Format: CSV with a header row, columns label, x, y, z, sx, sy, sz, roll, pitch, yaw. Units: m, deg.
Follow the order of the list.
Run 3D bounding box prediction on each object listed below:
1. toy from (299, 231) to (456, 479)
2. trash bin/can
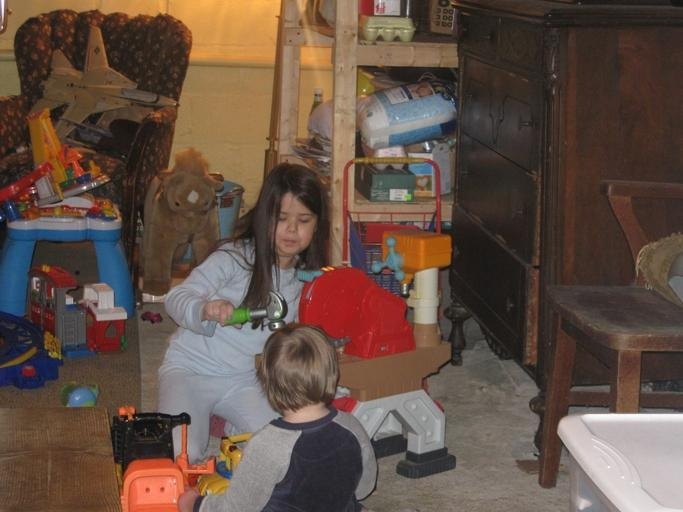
label,x,y,z,sx,sy,sz,roll,pitch,yaw
toy,0.120,0.367,2.734,0.622,0.872,0.606,-1,6,-24
trash bin/can,-0.948,-0.386,5.027,0.470,0.701,0.509,-9,26,-27
